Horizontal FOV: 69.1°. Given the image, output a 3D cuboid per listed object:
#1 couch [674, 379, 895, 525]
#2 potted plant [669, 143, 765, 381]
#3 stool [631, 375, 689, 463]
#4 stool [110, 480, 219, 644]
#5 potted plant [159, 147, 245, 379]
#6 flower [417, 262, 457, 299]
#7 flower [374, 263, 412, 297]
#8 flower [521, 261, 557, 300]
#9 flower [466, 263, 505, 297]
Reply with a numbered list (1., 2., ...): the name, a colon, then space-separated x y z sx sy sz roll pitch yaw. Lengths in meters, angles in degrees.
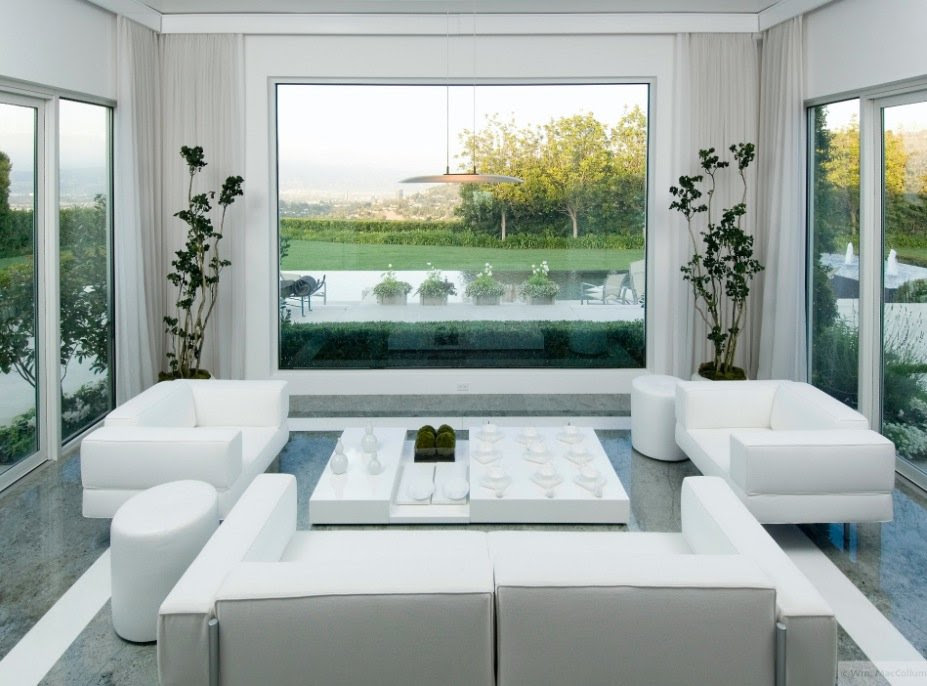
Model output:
1. couch: 2.121 0.693 4.368 0.866 0.586 1.363 0 9 0
2. potted plant: 2.479 -0.809 6.638 0.915 2.340 0.835 3 12 18
3. stool: 1.508 0.639 5.773 0.554 0.687 0.584 -1 10 -1
4. stool: -1.423 1.065 3.202 0.322 0.561 0.621 3 9 2
5. potted plant: -2.592 -0.790 6.581 0.865 2.266 0.802 -6 12 -26
6. flower: -0.278 -0.658 7.072 0.395 0.377 0.082 1 11 9
7. flower: -0.761 -0.629 7.073 0.318 0.169 0.338 -3 32 -6
8. flower: 0.805 -0.626 7.081 0.298 0.275 0.426 0 38 0
9. flower: 0.236 -0.655 6.920 0.332 0.351 0.349 1 4 -5
